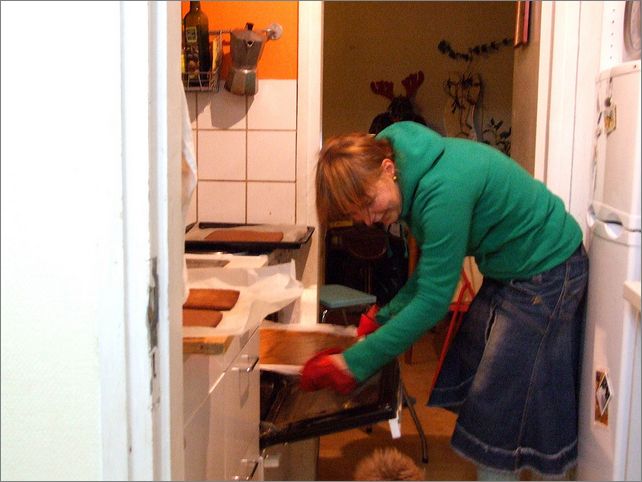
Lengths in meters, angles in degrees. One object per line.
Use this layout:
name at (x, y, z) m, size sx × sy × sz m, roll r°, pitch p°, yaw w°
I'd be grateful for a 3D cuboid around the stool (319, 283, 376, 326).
stool at (0.136, 0.328, 3.270) m, size 0.250 × 0.201 × 0.393 m, roll 6°, pitch 8°, yaw -2°

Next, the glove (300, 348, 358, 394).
glove at (0.024, 0.387, 1.723) m, size 0.169 × 0.119 × 0.045 m, roll -4°, pitch 8°, yaw -11°

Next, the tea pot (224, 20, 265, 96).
tea pot at (-0.334, -0.776, 2.646) m, size 0.140 × 0.290 × 0.213 m, roll 2°, pitch 38°, yaw -17°

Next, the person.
person at (0.406, 0.194, 1.795) m, size 0.886 × 1.068 × 0.398 m, roll -7°, pitch 9°, yaw -29°
